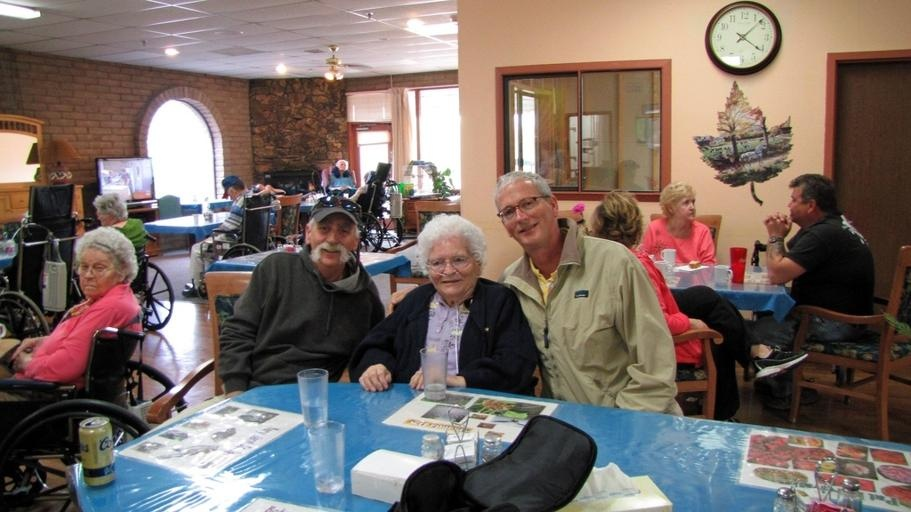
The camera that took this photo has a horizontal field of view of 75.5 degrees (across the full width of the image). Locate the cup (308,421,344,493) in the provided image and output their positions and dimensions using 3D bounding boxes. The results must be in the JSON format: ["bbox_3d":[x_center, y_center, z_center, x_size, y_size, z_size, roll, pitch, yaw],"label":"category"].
[{"bbox_3d":[-0.623,0.978,2.889,0.162,0.326,0.169,-3,10,1],"label":"cup"}]

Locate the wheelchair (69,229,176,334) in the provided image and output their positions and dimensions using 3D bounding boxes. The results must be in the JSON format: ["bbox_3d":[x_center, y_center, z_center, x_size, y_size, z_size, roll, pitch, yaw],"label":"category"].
[{"bbox_3d":[-4.043,0.340,7.165,1.175,1.033,0.830,-18,13,-28],"label":"wheelchair"}]

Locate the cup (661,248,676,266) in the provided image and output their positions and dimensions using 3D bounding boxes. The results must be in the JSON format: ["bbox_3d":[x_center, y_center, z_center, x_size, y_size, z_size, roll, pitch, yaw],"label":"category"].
[{"bbox_3d":[1.894,0.012,5.235,0.123,0.153,0.180,1,-2,-30],"label":"cup"}]

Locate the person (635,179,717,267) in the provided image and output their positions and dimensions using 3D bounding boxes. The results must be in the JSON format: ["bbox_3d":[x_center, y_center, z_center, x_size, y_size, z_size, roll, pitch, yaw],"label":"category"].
[{"bbox_3d":[2.113,-0.334,5.825,0.959,1.148,0.882,0,5,14],"label":"person"}]

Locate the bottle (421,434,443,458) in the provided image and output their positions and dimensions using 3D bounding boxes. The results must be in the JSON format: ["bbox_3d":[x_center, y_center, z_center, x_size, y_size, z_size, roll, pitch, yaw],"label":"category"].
[{"bbox_3d":[-0.112,0.955,2.966,0.123,0.098,0.112,-1,4,0],"label":"bottle"}]

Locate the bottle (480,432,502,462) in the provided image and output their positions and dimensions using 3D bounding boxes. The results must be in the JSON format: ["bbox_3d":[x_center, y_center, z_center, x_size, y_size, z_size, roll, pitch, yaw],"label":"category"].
[{"bbox_3d":[0.178,0.942,2.911,0.111,0.130,0.143,1,7,5],"label":"bottle"}]
